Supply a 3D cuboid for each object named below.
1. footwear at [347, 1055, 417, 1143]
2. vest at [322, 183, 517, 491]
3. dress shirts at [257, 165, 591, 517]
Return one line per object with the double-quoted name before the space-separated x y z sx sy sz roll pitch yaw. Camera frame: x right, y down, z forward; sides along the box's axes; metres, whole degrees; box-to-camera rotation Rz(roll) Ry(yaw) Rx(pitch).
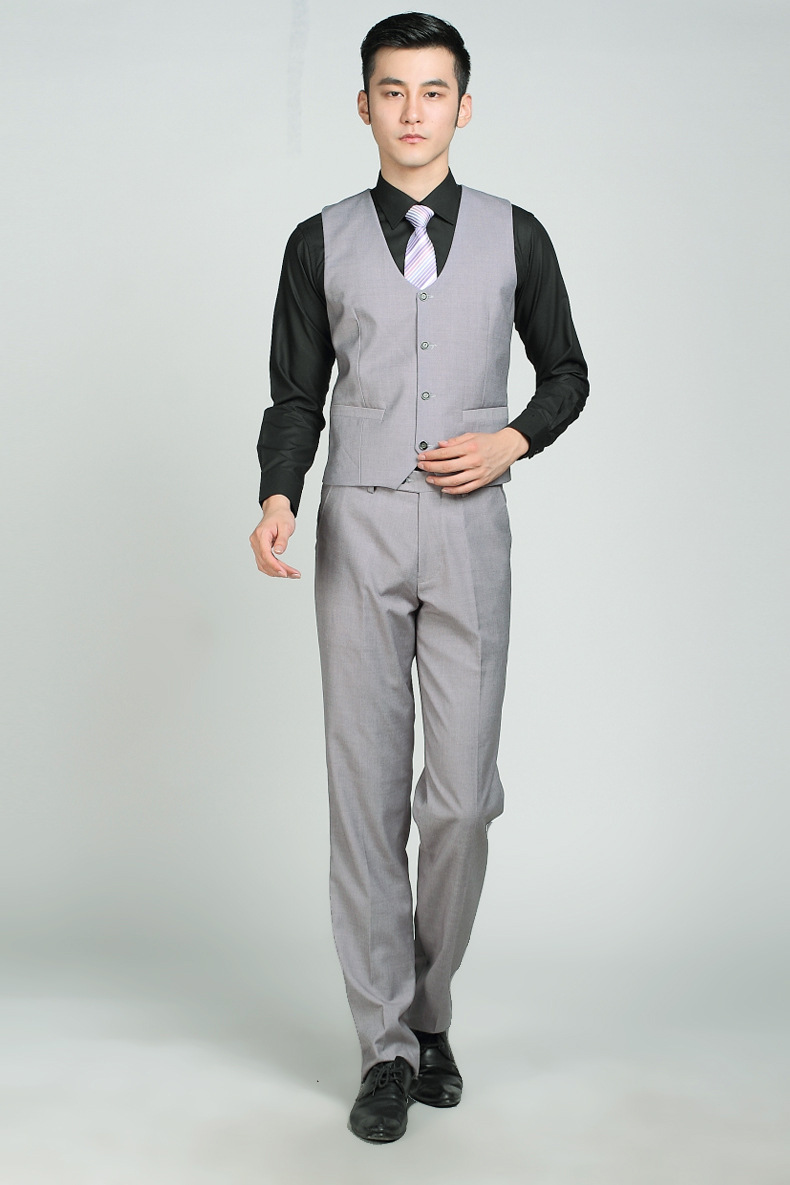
"footwear" -0.026 0.732 1.649 0.053 0.057 0.143 4 -7 6
"vest" 0.026 -0.358 1.671 0.288 0.458 0.196 3 -26 5
"dress shirts" 0.052 -0.368 1.758 0.539 0.475 0.256 0 13 -10
